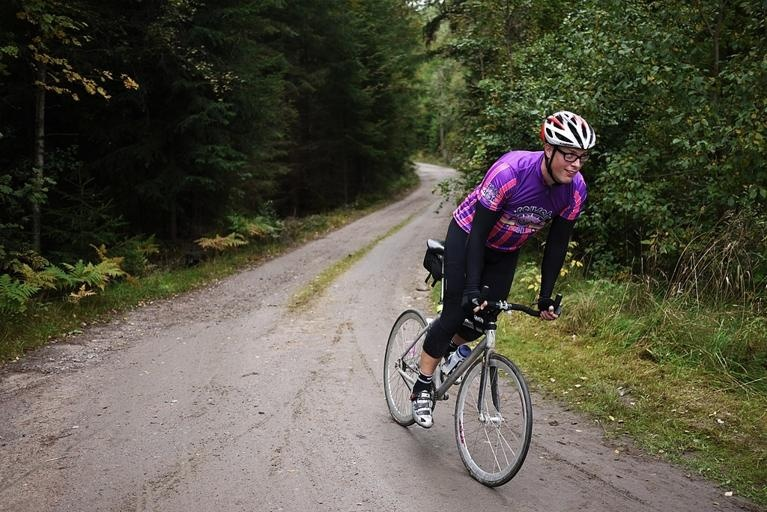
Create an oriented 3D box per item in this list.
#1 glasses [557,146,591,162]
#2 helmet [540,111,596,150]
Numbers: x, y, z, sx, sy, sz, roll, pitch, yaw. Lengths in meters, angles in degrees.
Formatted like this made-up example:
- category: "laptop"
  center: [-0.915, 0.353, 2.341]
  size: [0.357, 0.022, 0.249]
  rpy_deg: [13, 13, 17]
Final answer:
- category: "glasses"
  center: [2.453, -1.304, 8.069]
  size: [0.235, 0.081, 0.246]
  rpy_deg: [2, 18, -18]
- category: "helmet"
  center: [2.403, -1.614, 8.094]
  size: [0.462, 0.301, 0.645]
  rpy_deg: [-4, 25, -16]
